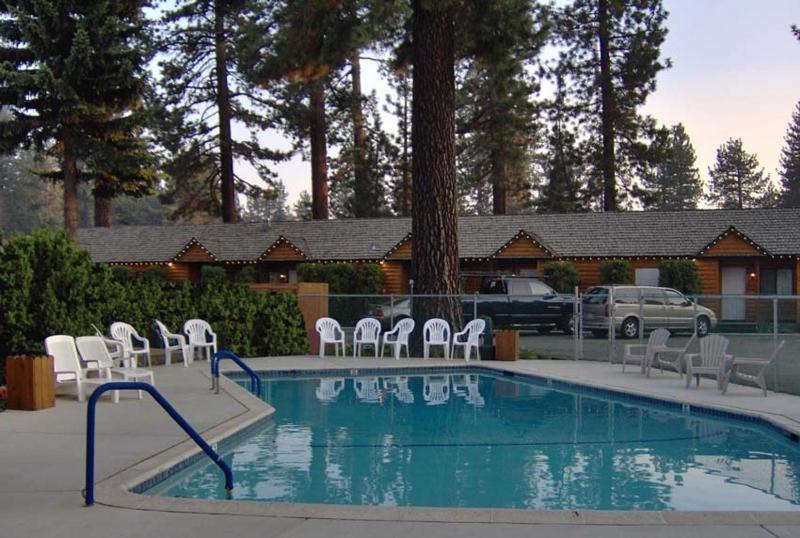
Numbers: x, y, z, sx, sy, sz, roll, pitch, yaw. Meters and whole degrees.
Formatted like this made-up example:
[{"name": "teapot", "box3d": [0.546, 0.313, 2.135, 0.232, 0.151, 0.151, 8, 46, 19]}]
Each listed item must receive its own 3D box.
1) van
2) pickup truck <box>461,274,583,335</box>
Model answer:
[{"name": "van", "box3d": [8.320, 1.963, 31.640, 4.200, 1.837, 2.422, -3, 1, -8]}, {"name": "pickup truck", "box3d": [4.738, 1.422, 34.189, 4.286, 1.975, 2.144, -2, 2, -10]}]
